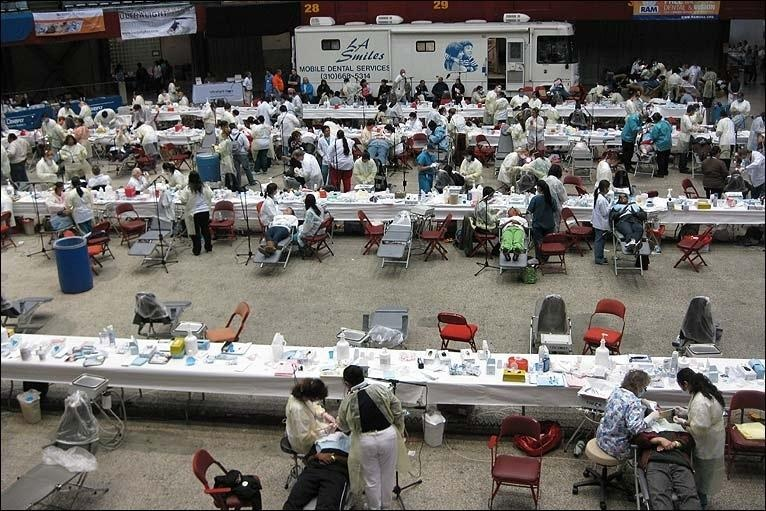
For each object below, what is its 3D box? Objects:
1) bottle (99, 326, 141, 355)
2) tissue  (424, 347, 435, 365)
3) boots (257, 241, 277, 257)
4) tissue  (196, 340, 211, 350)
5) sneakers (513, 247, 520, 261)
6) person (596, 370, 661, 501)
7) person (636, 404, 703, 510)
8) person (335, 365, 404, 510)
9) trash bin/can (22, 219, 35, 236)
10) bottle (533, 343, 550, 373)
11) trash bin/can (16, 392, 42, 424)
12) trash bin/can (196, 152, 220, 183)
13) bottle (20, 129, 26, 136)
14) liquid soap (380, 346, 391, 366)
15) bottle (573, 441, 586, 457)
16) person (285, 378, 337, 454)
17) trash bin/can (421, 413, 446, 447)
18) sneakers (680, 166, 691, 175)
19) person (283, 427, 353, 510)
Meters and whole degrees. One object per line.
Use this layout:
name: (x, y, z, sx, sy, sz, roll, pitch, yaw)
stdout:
bottle: (-4.062, 1.346, 8.781, 0.620, 0.260, 0.192, 13, 22, 12)
tissue : (0.663, 1.442, 8.010, 0.153, 0.129, 0.192, -1, 16, 11)
boots: (-2.421, -0.131, 11.838, 0.423, 0.259, 0.170, -17, 13, 43)
tissue : (-2.635, 1.329, 8.351, 0.128, 0.059, 0.132, 2, 10, 9)
sneakers: (2.565, -0.021, 10.963, 0.148, 0.214, 0.207, 5, 34, 9)
person: (2.920, 2.229, 6.750, 0.750, 1.390, 0.653, -24, 43, -16)
person: (3.217, 2.306, 6.459, 0.396, 0.376, 1.229, -1, 29, 11)
person: (-0.116, 2.207, 6.517, 0.752, 1.856, 0.467, -5, 16, -2)
trash bin/can: (-8.753, -0.719, 14.038, 0.249, 0.309, 0.217, 25, 37, 29)
bottle: (2.190, 1.417, 7.859, 0.284, 0.538, 0.305, -1, 5, 0)
trash bin/can: (-5.158, 2.257, 8.293, 0.360, 0.413, 0.319, -2, 9, -9)
trash bin/can: (-4.832, -2.445, 15.744, 0.725, 0.955, 0.744, -3, 20, -9)
bottle: (-11.934, -4.146, 18.946, 0.178, 0.222, 0.226, 3, 13, 9)
liquid soap: (0.028, 1.431, 8.034, 0.166, 0.234, 0.237, -4, 16, -1)
bottle: (2.575, 2.561, 7.474, 0.141, 0.161, 0.239, 5, 18, 27)
person: (-0.883, 1.985, 6.896, 0.569, 1.035, 0.544, -7, 43, -10)
trash bin/can: (0.643, 2.360, 7.764, 0.407, 0.517, 0.362, 0, 12, 1)
sneakers: (8.919, -2.507, 16.635, 0.369, 0.269, 0.146, -9, 26, 13)
person: (-0.683, 2.535, 6.476, 0.518, 0.284, 0.932, 2, 35, 21)
